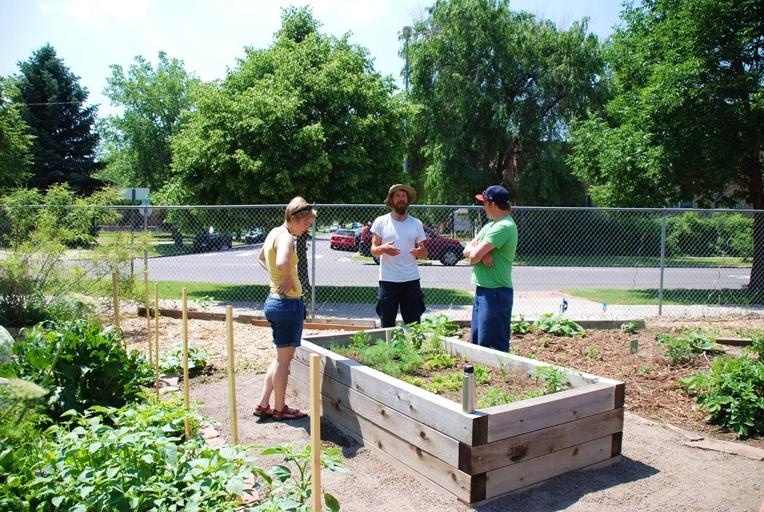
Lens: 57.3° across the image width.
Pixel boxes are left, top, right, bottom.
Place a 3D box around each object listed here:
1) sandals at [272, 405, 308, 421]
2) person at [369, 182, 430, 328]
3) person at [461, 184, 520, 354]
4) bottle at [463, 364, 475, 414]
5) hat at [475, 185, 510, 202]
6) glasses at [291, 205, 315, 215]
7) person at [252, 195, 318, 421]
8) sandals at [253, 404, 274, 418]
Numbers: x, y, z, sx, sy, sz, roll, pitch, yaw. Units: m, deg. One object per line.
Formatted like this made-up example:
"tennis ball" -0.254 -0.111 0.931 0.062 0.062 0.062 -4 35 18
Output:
"sandals" -1.301 2.139 9.556 0.340 0.155 0.211 -1 4 -9
"person" 0.252 -0.004 10.752 0.850 2.186 0.639 0 4 -1
"person" 1.551 0.213 10.013 0.690 2.427 0.644 1 4 10
"bottle" 1.014 1.563 8.247 0.141 0.545 0.183 0 4 7
"hat" 1.563 -0.874 9.930 0.377 0.211 0.287 0 5 13
"glasses" -1.081 -0.624 9.413 0.189 0.078 0.161 -15 7 4
"person" -1.327 0.717 9.403 0.793 3.005 0.434 -1 4 -7
"sandals" -1.625 2.119 9.528 0.271 0.131 0.125 2 4 -42
